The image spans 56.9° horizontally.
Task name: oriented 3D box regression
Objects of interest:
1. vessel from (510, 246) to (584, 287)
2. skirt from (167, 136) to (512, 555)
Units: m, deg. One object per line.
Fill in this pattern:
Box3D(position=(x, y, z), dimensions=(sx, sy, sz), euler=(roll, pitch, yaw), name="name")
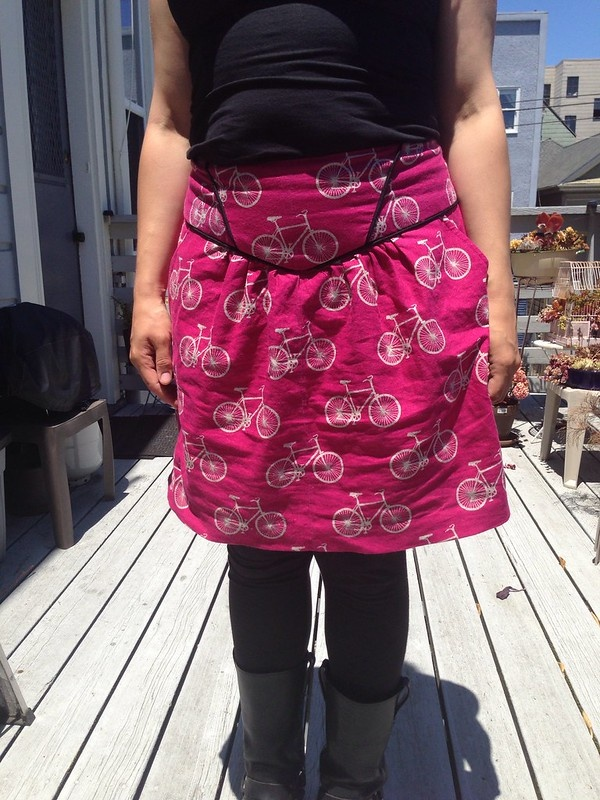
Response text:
Box3D(position=(1.618, -0.879, 3.691), dimensions=(0.487, 0.185, 0.388), euler=(-2, 9, 22), name="vessel")
Box3D(position=(0.035, -0.072, 0.735), dimensions=(0.438, 0.472, 0.269), euler=(2, 4, 13), name="skirt")
